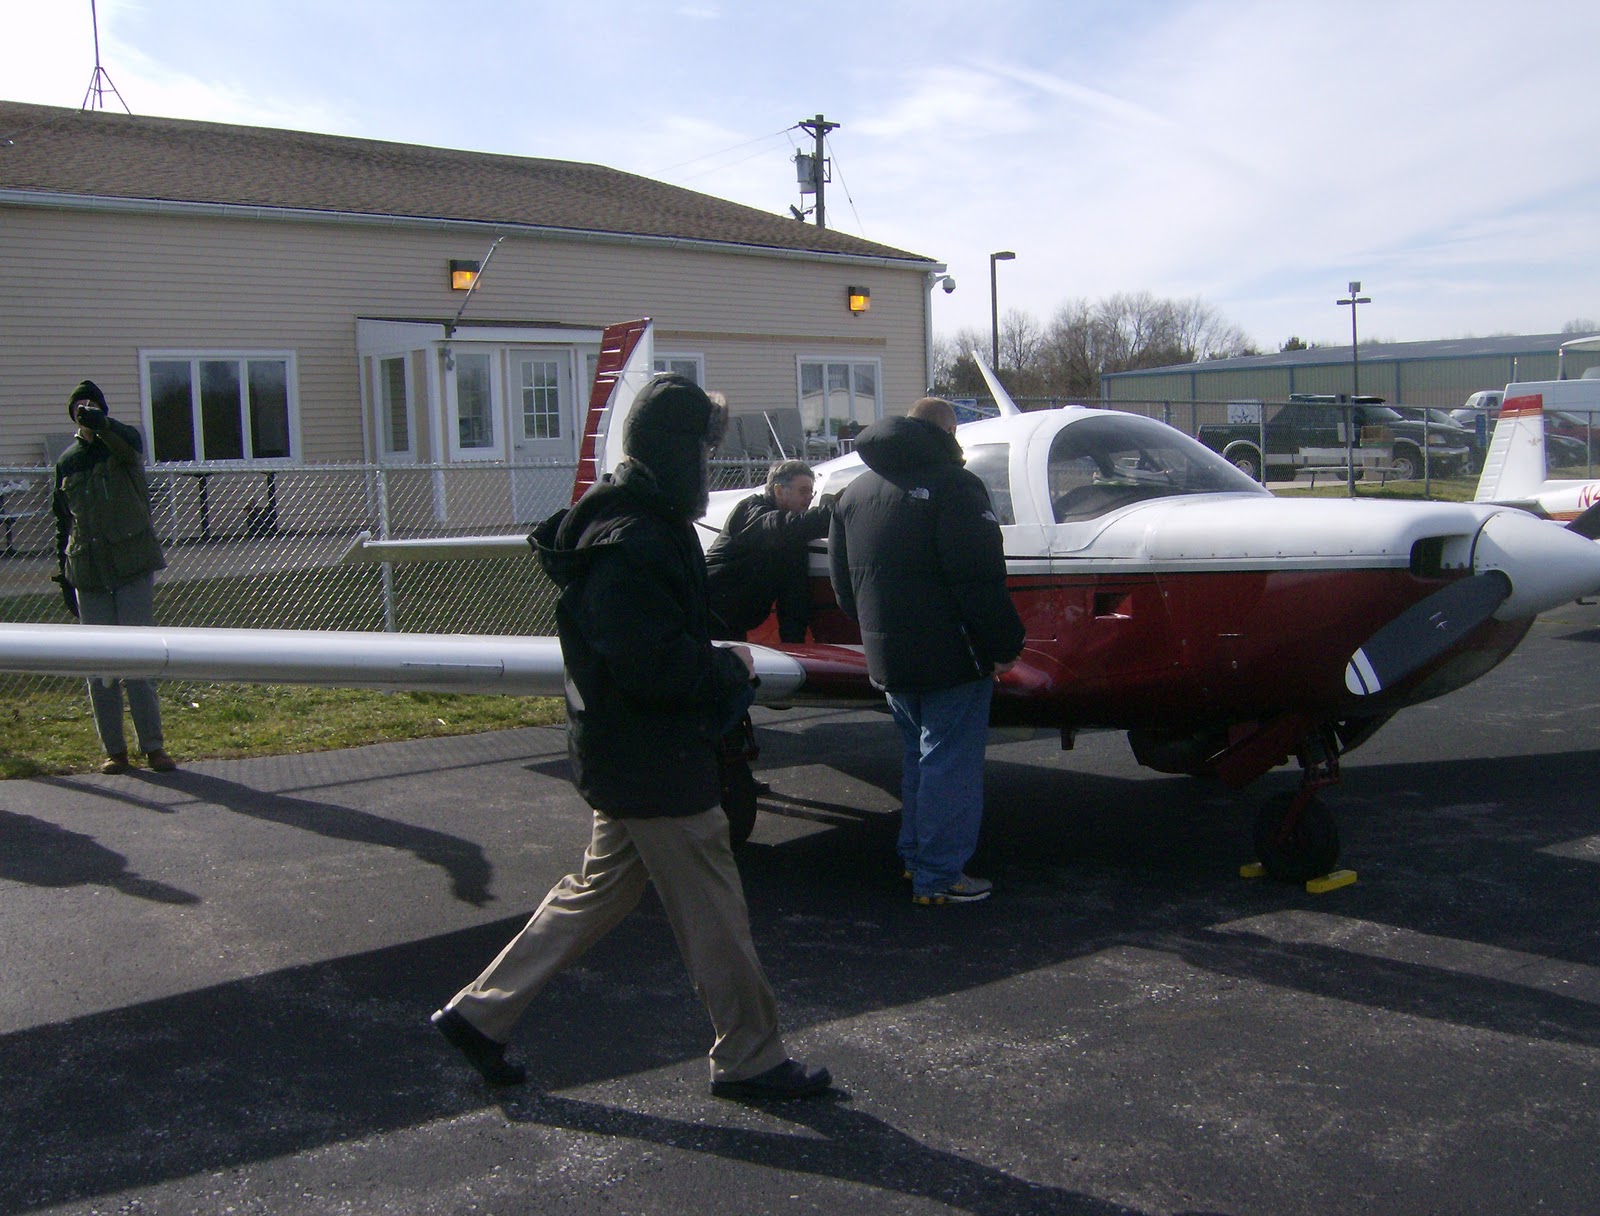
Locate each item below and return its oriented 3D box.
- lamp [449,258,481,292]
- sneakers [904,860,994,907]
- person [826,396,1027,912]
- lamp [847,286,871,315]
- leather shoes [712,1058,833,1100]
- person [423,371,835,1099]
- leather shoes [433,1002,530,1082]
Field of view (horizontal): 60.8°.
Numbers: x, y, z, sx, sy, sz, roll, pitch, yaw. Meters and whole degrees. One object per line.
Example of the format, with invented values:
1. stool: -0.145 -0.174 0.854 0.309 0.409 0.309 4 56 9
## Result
1. lamp: -4.232 -4.246 17.190 0.492 0.428 0.444 0 20 -4
2. sneakers: 0.610 1.120 5.555 0.303 0.132 0.134 -4 8 -7
3. person: 0.537 0.179 5.475 0.650 2.009 0.423 -1 9 1
4. lamp: 0.888 -4.781 20.931 0.460 0.411 0.210 -10 15 -38
5. leather shoes: -0.070 1.407 4.073 0.319 0.139 0.124 -3 3 0
6. person: -0.455 0.397 3.987 1.050 2.103 0.368 -2 9 0
7. leather shoes: -0.960 1.315 4.101 0.134 0.277 0.092 -33 22 34
